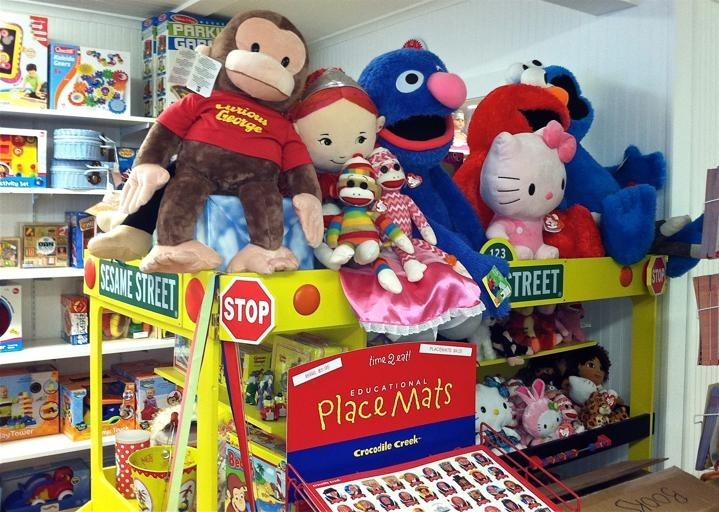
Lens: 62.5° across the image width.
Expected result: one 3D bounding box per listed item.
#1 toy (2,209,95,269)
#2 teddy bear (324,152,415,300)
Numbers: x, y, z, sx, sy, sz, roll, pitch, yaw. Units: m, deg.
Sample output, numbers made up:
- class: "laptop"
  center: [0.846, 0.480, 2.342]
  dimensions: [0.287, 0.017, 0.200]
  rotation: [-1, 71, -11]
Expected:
- class: "toy"
  center: [-1.729, -0.095, 3.515]
  dimensions: [0.500, 0.277, 0.268]
  rotation: [-3, 3, 6]
- class: "teddy bear"
  center: [0.027, -0.110, 1.852]
  dimensions: [0.273, 0.436, 0.251]
  rotation: [-3, 3, 4]
